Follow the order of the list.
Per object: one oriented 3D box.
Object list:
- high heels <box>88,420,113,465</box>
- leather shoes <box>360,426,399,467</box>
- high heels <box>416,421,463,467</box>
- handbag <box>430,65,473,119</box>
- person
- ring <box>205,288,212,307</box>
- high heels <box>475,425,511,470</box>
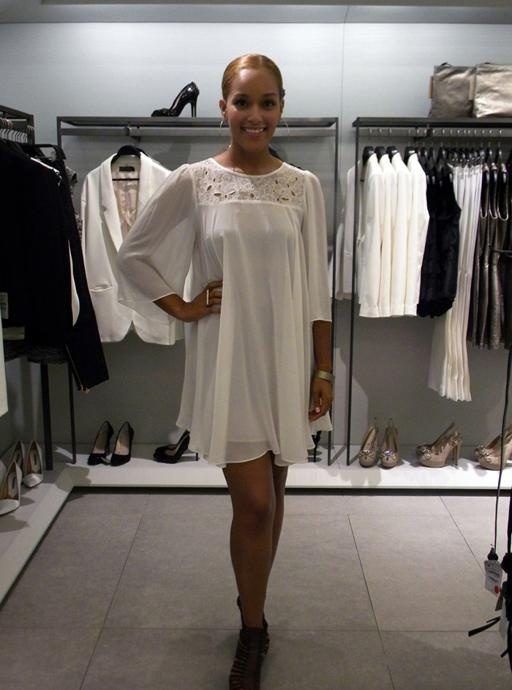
[{"bbox_3d":[-0.816,0.514,2.892,0.069,0.129,0.266,-2,17,3],"label":"high heels"},{"bbox_3d":[0.642,0.521,2.854,0.133,0.107,0.255,-1,12,9],"label":"leather shoes"},{"bbox_3d":[0.948,0.508,2.900,0.221,0.228,0.163,-6,7,-1],"label":"high heels"},{"bbox_3d":[0.908,-1.170,2.528,0.207,0.341,0.113,1,-3,7],"label":"handbag"},{"bbox_3d":[-0.075,0.116,1.402,0.520,1.522,0.366,2,5,15],"label":"person"},{"bbox_3d":[-0.112,-0.114,1.283,0.006,0.031,0.020,5,0,-24],"label":"ring"},{"bbox_3d":[1.212,0.502,2.788,0.177,0.257,0.401,3,7,23],"label":"high heels"}]
